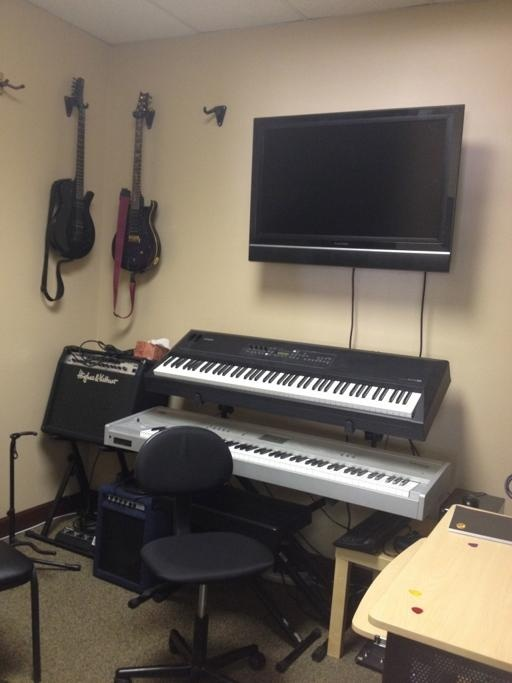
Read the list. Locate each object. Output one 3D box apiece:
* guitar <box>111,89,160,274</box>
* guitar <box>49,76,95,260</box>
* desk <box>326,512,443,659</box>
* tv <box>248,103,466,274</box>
[{"bbox_3d":[-0.611,-0.842,3.241,0.277,0.976,0.144,9,12,27],"label":"guitar"},{"bbox_3d":[-0.970,-0.891,3.113,0.144,0.939,0.248,7,11,19],"label":"guitar"},{"bbox_3d":[0.417,0.937,2.313,0.392,0.550,0.404,4,-10,27],"label":"desk"},{"bbox_3d":[0.437,-0.632,2.459,0.682,0.531,0.072,7,11,30],"label":"tv"}]
